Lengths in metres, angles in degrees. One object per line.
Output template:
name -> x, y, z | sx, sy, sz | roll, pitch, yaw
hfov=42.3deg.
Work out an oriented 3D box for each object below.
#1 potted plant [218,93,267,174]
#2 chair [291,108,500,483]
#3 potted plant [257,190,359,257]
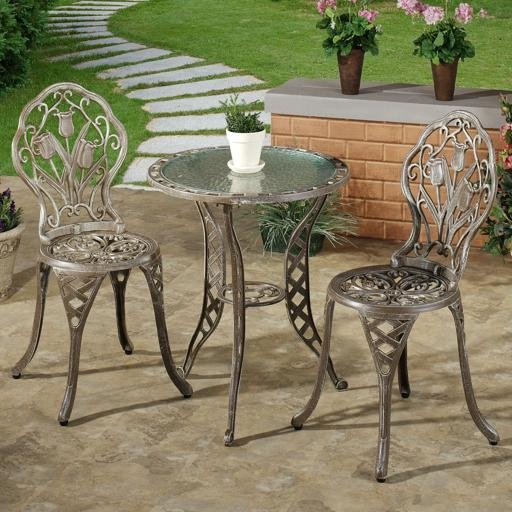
potted plant -> -0.045, -0.474, 2.544 | 0.149, 0.297, 0.251 | -4, 24, -2
chair -> 0.466, 0.111, 2.301 | 0.779, 1.135, 0.594 | -20, 22, -14
potted plant -> 0.298, -0.210, 3.999 | 0.630, 0.296, 0.470 | 3, 32, 5
